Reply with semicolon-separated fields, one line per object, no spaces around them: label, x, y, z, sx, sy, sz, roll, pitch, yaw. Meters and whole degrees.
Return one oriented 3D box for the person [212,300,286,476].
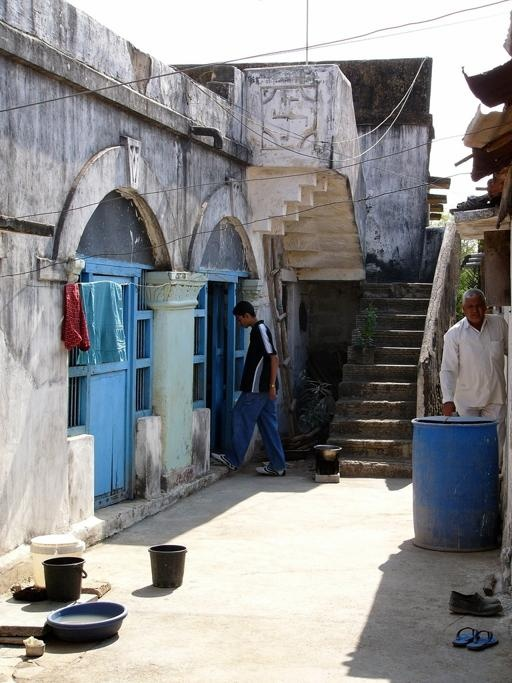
person;-0.047;0.469;9.756;0.641;1.740;0.468;0;3;5

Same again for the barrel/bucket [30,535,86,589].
barrel/bucket;-1.115;1.242;5.539;0.262;0.222;0.261;1;-4;0

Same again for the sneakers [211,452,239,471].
sneakers;-0.309;1.192;9.723;0.234;0.104;0.081;35;4;-2

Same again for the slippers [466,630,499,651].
slippers;1.102;1.450;4.771;0.108;0.042;0.286;1;2;29

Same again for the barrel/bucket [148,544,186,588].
barrel/bucket;-0.522;1.317;5.761;0.205;0.234;0.214;0;2;0

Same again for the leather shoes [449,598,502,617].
leather shoes;1.150;1.413;5.211;0.270;0.131;0.106;0;3;6

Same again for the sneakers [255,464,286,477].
sneakers;0.137;1.306;9.801;0.302;0.145;0.109;11;2;13

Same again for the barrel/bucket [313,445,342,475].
barrel/bucket;0.676;1.132;9.435;0.231;0.256;0.249;0;4;0

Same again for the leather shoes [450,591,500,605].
leather shoes;1.167;1.376;5.297;0.259;0.104;0.103;-1;3;4

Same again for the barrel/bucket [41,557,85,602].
barrel/bucket;-1.018;1.270;5.262;0.216;0.180;0.197;2;-5;0

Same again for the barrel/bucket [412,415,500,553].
barrel/bucket;1.233;0.959;6.703;0.727;1.174;0.744;0;-5;0

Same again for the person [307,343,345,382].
person;0.987;0.307;14.093;0.565;0.544;0.713;0;2;3
